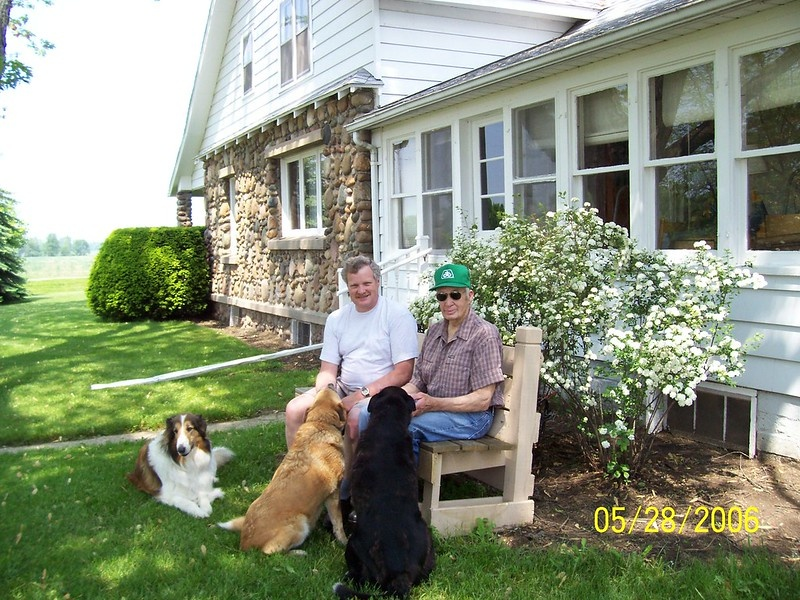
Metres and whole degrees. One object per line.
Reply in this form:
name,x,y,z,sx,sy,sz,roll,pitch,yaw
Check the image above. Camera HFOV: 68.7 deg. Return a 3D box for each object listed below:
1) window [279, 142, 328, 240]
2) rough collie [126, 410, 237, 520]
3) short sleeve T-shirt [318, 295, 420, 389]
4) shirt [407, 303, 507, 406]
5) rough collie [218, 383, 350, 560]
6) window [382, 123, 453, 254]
window,-1.998,-2.345,12.277,0.149,1.884,1.966,-3,6,-29
rough collie,-1.901,1.372,5.207,0.866,0.704,1.378,6,-2,-23
short sleeve T-shirt,-0.236,0.371,4.915,0.963,0.952,0.515,-1,1,27
shirt,0.433,0.477,4.652,0.824,0.820,0.459,-1,-7,38
rough collie,-0.759,1.282,4.179,0.485,1.135,1.417,-2,1,29
window,0.300,-1.803,9.072,0.166,2.659,2.082,-2,2,-34
